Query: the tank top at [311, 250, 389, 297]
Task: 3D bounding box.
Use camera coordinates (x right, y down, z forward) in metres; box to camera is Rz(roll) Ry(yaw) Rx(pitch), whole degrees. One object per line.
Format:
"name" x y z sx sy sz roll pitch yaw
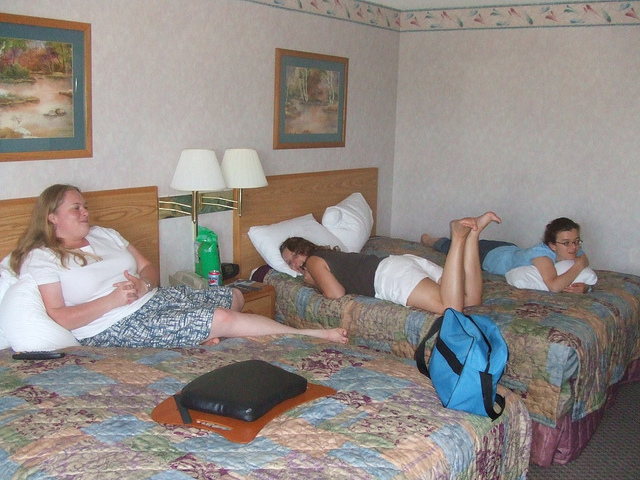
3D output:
"tank top" 0.202 0.204 3.619 0.472 0.269 0.395 7 11 10

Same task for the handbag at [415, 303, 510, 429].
"handbag" 0.730 0.573 2.422 0.385 0.383 0.503 0 23 -18

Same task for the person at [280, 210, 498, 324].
"person" 0.289 0.024 3.746 1.722 0.685 0.628 14 23 35

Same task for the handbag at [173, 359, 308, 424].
"handbag" -0.347 0.645 2.161 0.525 0.107 0.359 -7 12 -41

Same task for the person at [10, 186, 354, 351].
"person" -0.755 0.214 3.018 1.965 0.815 0.750 8 21 2

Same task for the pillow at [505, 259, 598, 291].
"pillow" 1.626 0.205 3.750 0.516 0.239 0.578 0 5 -17

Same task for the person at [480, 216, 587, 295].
"person" 1.485 0.011 3.966 0.509 0.419 1.022 -26 25 -34

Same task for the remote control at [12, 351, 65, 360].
"remote control" -1.383 0.566 2.507 0.165 0.030 0.092 3 0 -4

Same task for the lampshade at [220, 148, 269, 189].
"lampshade" -0.559 -0.513 3.728 0.262 0.293 0.295 -3 13 -38
